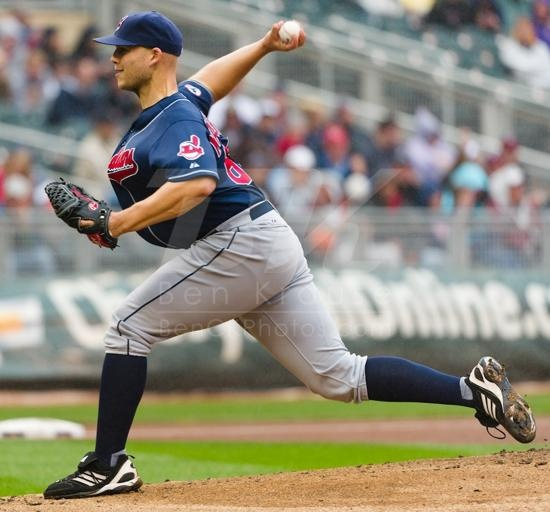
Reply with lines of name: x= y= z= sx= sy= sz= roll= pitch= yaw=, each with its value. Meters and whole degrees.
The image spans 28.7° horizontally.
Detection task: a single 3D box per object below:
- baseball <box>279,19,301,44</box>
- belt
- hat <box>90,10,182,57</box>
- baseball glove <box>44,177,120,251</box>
baseball: x=0.078 y=-1.182 z=5.677 sx=0.113 sy=0.098 sz=0.116 roll=23 pitch=35 yaw=-16
belt: x=-0.165 y=-0.189 z=5.314 sx=0.371 sy=0.136 sz=0.095 roll=-2 pitch=-2 yaw=-18
hat: x=-0.674 y=-1.113 z=5.344 sx=0.397 sy=0.151 sz=0.229 roll=0 pitch=12 yaw=-10
baseball glove: x=-0.929 y=-0.226 z=5.295 sx=0.439 sy=0.171 sz=0.282 roll=37 pitch=33 yaw=7
